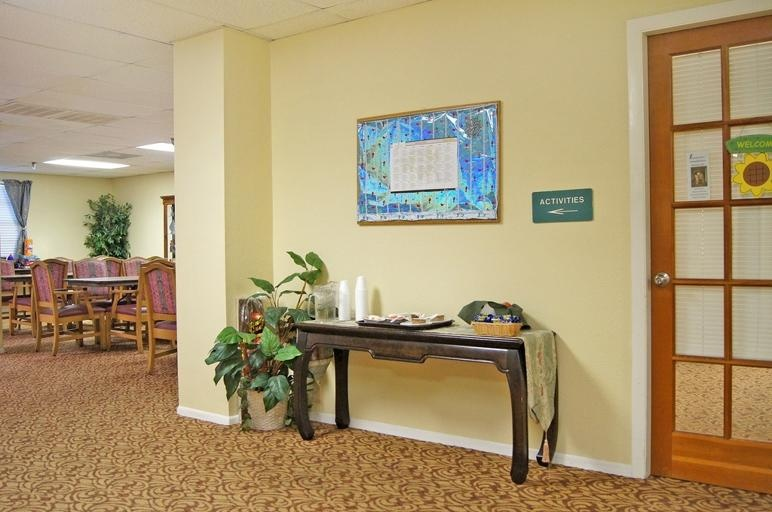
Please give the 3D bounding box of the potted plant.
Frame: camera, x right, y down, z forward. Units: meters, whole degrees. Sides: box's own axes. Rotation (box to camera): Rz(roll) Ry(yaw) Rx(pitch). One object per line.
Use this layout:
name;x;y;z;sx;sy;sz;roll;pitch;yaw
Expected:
potted plant;-1.078;0.700;4.826;1.223;1.725;1.463;2;8;-6

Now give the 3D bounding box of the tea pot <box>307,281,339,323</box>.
tea pot;-0.477;0.392;4.355;0.294;0.322;0.290;0;-5;0
